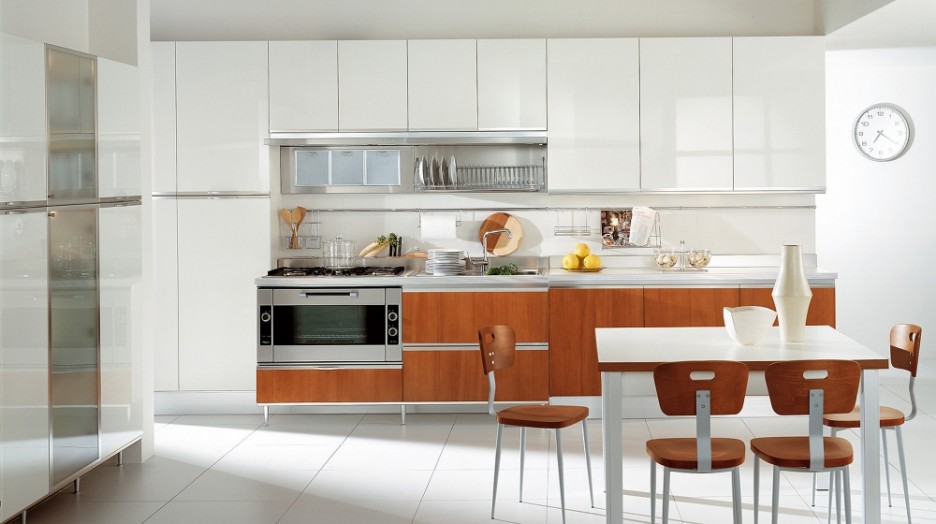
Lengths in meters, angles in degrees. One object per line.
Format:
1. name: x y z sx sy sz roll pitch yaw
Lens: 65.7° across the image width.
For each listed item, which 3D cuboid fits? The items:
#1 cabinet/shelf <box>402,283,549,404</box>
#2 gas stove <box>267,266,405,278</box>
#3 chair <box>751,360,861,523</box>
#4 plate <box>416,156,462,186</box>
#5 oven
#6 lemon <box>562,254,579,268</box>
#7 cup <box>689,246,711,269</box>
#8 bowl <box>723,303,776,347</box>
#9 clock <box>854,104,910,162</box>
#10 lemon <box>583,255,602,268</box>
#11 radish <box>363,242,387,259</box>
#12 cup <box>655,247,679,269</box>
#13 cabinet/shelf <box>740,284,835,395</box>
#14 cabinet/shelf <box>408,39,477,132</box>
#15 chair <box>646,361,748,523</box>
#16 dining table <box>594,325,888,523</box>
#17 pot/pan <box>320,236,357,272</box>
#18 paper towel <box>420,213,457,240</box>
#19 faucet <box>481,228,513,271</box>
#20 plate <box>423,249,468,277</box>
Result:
1. cabinet/shelf: -0.204 0.836 7.147 1.755 1.191 0.925 2 -11 -24
2. gas stove: -1.274 0.083 7.036 1.309 0.060 0.571 -1 4 -5
3. chair: 2.205 1.176 4.750 0.638 1.142 0.359 -1 4 5
4. plate: -0.338 -0.902 7.301 0.381 0.317 0.087 -5 4 35
5. oven: -1.314 0.597 7.087 1.321 0.613 0.767 -1 -5 0
6. lemon: 1.000 -0.022 7.082 0.140 0.128 0.141 -6 16 -44
7. cup: 2.261 -0.036 7.084 0.194 0.143 0.202 0 -2 0
8. bowl: 1.967 0.461 5.200 0.473 0.263 0.347 -4 -6 -2
9. clock: 4.389 -1.378 7.617 0.708 0.695 0.222 0 0 16
10. lemon: 1.233 -0.001 7.063 0.161 0.116 0.115 5 35 -20
11. radish: -0.970 -0.117 7.337 0.253 0.111 0.061 -17 -17 1
12. cup: 1.956 -0.033 7.119 0.202 0.142 0.202 0 -2 0
13. cabinet/shelf: 2.884 0.589 6.724 0.828 0.431 0.690 -3 37 14
14. cabinet/shelf: -0.260 -1.737 6.990 0.972 0.984 0.583 0 6 3
15. chair: 1.495 1.183 4.731 0.629 1.150 0.391 0 4 11
16. dining table: 1.696 1.235 5.074 1.815 1.124 1.588 -1 -2 1
17. pot/pan: -1.340 -0.095 7.483 0.383 0.322 0.365 1 3 -15
18. paper towel: -0.314 -0.370 7.412 0.485 0.285 0.244 1 4 0
19. faucet: 0.272 -0.129 7.235 0.301 0.410 0.376 -1 4 1
20. plate: -0.229 -0.001 6.947 0.357 0.226 0.184 -1 4 -8
